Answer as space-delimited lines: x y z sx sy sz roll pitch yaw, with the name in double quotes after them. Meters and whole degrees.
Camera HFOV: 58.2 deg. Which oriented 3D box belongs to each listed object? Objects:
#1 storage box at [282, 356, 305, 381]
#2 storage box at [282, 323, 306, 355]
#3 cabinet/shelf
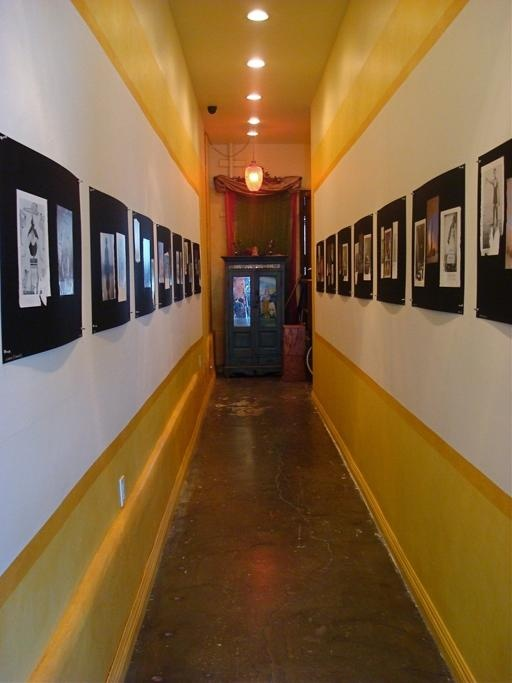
0.663 0.522 8.007 0.339 0.607 0.334 0 -1 1 "storage box"
0.675 -0.005 7.953 0.302 0.787 0.418 -1 6 0 "storage box"
-0.011 -0.431 8.551 1.278 3.956 1.115 0 0 -2 "cabinet/shelf"
